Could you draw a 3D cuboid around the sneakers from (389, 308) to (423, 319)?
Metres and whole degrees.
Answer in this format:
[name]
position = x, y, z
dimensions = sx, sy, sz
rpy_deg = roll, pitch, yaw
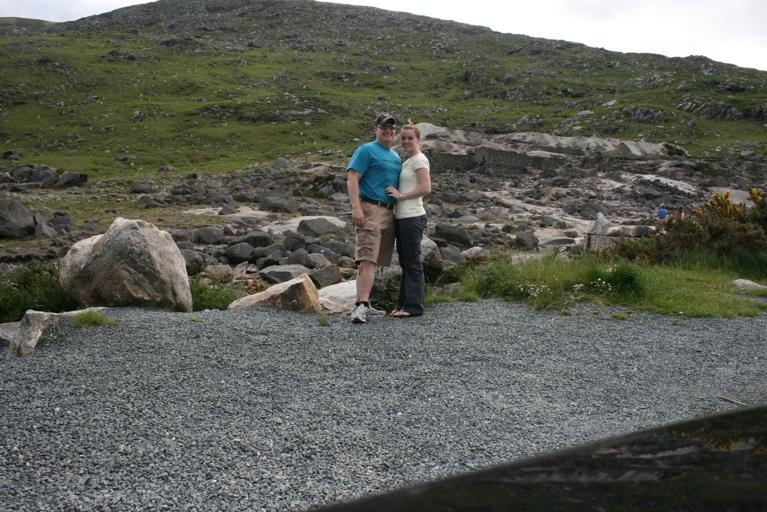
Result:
[sneakers]
position = 0.348, 1.043, 10.651
dimensions = 0.695, 0.135, 0.261
rpy_deg = 0, 7, -28
